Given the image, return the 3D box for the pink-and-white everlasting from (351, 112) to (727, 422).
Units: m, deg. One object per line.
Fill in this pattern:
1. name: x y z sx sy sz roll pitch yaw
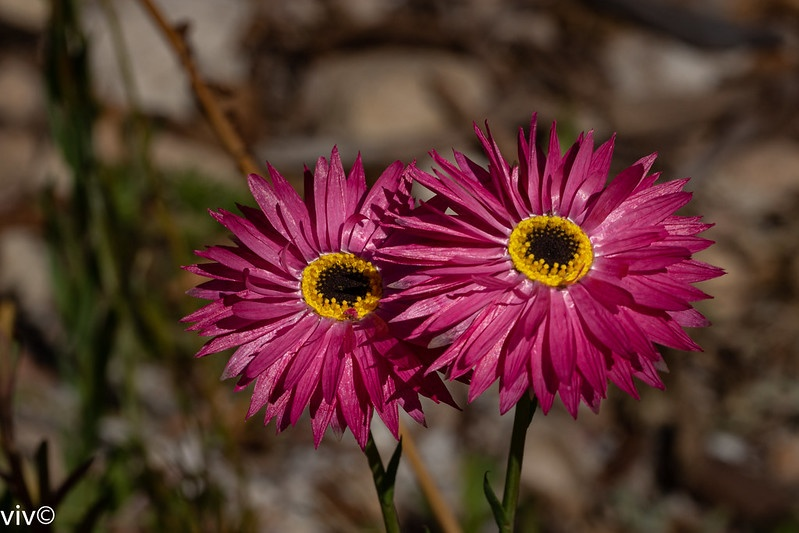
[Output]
1. pink-and-white everlasting: 0.196 0.014 1.241 0.481 0.214 0.494 1 81 1

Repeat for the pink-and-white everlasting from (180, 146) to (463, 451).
1. pink-and-white everlasting: -0.171 0.084 1.430 0.464 0.207 0.491 30 74 -4
